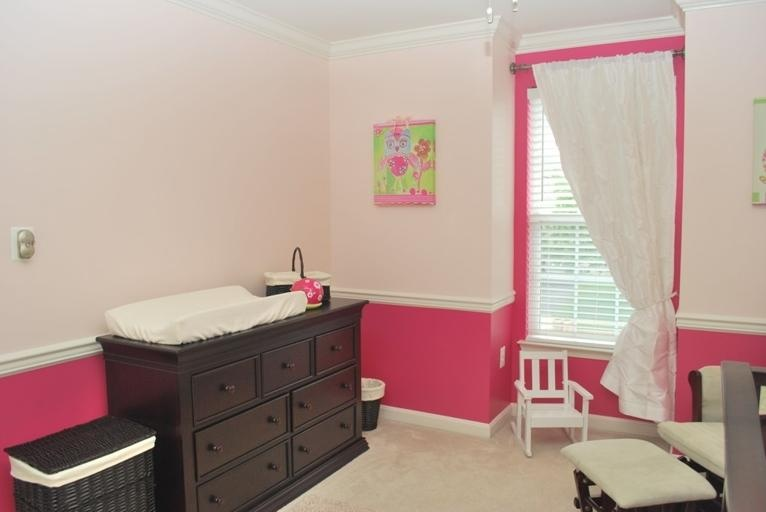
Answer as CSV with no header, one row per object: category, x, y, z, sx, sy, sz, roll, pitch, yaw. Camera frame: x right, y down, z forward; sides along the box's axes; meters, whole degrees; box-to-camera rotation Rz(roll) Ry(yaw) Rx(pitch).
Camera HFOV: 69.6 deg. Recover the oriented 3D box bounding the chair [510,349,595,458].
chair,1.287,1.113,4.234,0.725,0.645,0.858,0,1,37
